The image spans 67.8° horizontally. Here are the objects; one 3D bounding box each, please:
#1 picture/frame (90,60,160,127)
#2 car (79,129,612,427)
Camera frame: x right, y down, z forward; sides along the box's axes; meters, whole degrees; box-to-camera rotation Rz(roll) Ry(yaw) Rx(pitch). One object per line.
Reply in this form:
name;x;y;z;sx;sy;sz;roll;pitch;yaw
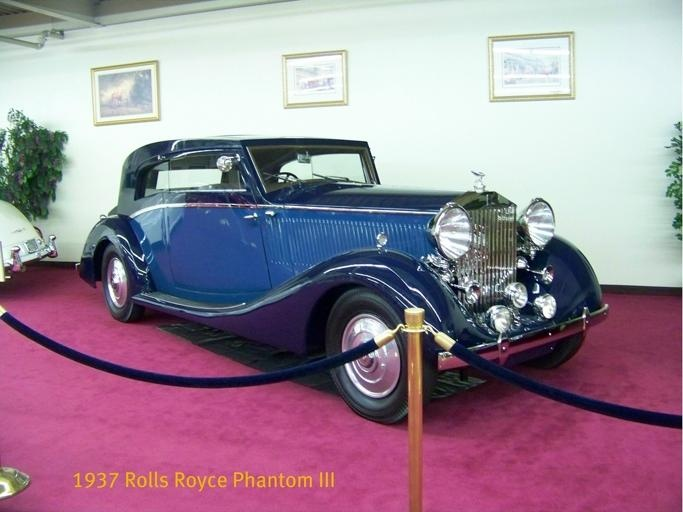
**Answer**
picture/frame;-3.077;-2.362;7.340;0.969;0.723;0.036;0;3;18
car;-0.156;-0.120;3.902;3.777;1.589;1.527;6;11;36
